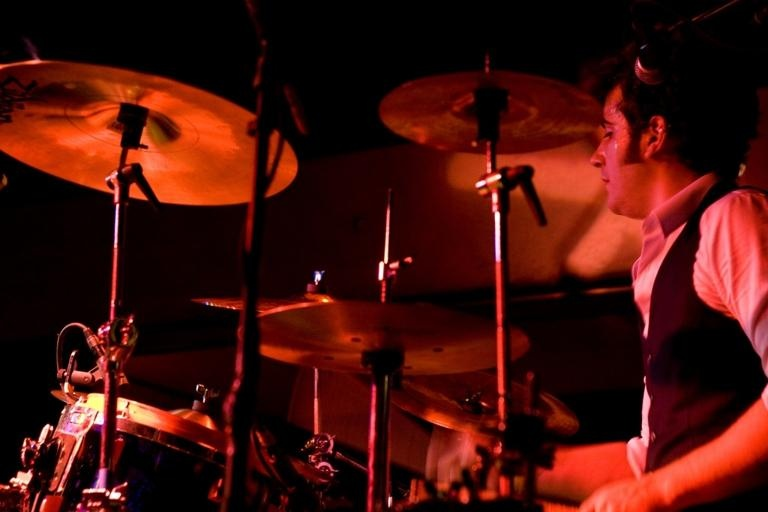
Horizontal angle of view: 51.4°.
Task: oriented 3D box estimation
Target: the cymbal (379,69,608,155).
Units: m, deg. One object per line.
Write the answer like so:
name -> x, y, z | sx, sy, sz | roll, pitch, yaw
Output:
cymbal -> 0.405, -0.572, 3.016 | 0.805, 0.142, 0.776 | 6, -7, 2

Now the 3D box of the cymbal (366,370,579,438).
cymbal -> 0.404, 0.620, 3.335 | 0.837, 0.083, 0.883 | 9, 9, 2
